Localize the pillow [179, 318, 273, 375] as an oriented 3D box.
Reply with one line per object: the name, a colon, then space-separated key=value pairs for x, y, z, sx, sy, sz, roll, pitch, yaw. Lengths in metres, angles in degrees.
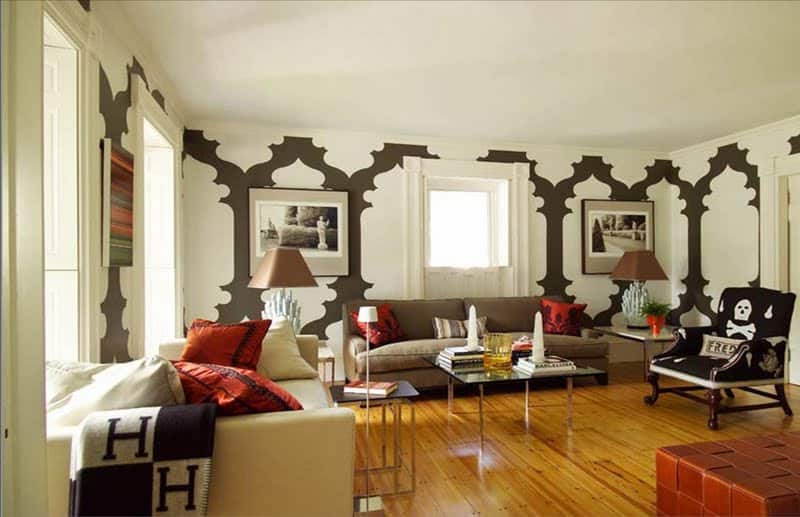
pillow: x=-1.347 y=0.675 z=4.443 sx=0.600 sy=0.404 sz=0.268 roll=6 pitch=11 yaw=11

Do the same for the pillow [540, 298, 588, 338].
pillow: x=1.776 y=0.652 z=6.425 sx=0.360 sy=0.293 sz=0.182 roll=9 pitch=11 yaw=12

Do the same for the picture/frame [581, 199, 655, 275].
picture/frame: x=2.607 y=-0.254 z=7.134 sx=1.020 sy=0.979 sz=0.039 roll=1 pitch=2 yaw=-13

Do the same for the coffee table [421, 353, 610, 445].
coffee table: x=0.919 y=1.143 z=5.330 sx=1.363 sy=0.586 sz=1.283 roll=-3 pitch=8 yaw=-14

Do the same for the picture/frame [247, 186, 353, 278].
picture/frame: x=-1.119 y=-0.285 z=6.188 sx=1.083 sy=0.874 sz=0.034 roll=1 pitch=-5 yaw=-16

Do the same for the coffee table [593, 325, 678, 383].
coffee table: x=2.730 y=1.157 z=6.488 sx=0.635 sy=0.303 sz=0.867 roll=-1 pitch=0 yaw=-13

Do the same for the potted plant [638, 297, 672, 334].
potted plant: x=2.743 y=0.637 z=6.494 sx=0.379 sy=0.370 sz=0.373 roll=0 pitch=0 yaw=-2

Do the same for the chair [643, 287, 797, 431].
chair: x=2.984 y=0.903 z=5.822 sx=1.382 sy=1.477 sz=1.176 roll=3 pitch=-4 yaw=-18

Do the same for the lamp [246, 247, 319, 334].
lamp: x=-1.068 y=0.314 z=5.304 sx=0.535 sy=0.744 sz=0.504 roll=0 pitch=-1 yaw=-31

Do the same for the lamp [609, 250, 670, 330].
lamp: x=2.864 y=0.331 z=6.910 sx=0.726 sy=0.858 sz=0.708 roll=-5 pitch=4 yaw=8

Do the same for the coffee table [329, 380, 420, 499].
coffee table: x=-0.131 y=1.291 z=4.467 sx=0.855 sy=0.757 sz=0.698 roll=0 pitch=-4 yaw=-8

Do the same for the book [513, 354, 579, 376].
book: x=1.214 y=0.894 z=4.906 sx=0.520 sy=0.101 sz=0.385 roll=1 pitch=8 yaw=12
